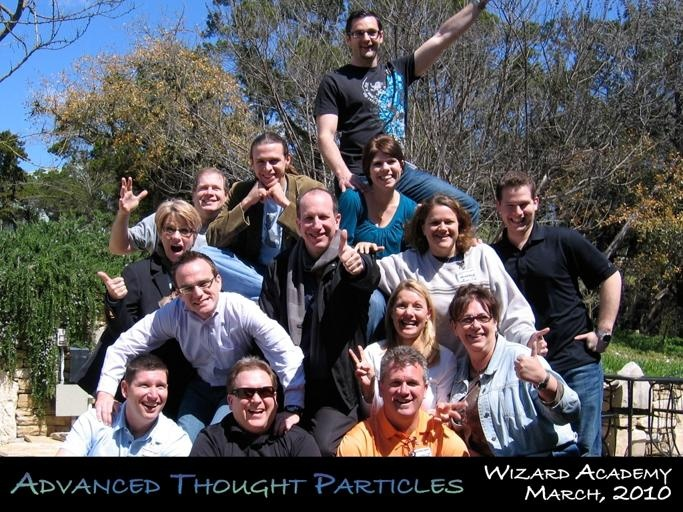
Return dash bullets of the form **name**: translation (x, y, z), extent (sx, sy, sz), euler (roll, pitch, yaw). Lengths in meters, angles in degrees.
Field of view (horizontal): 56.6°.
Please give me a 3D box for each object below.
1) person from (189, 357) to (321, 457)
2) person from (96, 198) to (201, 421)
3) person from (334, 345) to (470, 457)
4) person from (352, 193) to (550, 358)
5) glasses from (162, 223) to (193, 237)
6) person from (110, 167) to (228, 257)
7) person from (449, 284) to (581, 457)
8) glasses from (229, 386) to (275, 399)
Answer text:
- **person**: translation (-0.695, 1.201, 4.906), extent (0.993, 0.803, 0.565), euler (1, 0, -20)
- **person**: translation (-1.663, 0.743, 5.925), extent (1.029, 2.480, 0.942), euler (3, 4, -17)
- **person**: translation (0.439, 1.184, 4.881), extent (1.027, 0.941, 0.521), euler (3, -7, -14)
- **person**: translation (0.969, 0.190, 5.519), extent (1.647, 1.464, 0.945), euler (-2, 9, 32)
- **glasses**: translation (-1.518, -0.244, 5.861), extent (0.146, 0.048, 0.157), euler (4, -27, -6)
- **person**: translation (-1.723, -0.431, 6.341), extent (1.188, 0.890, 0.832), euler (1, -14, -11)
- **person**: translation (1.349, 0.949, 5.057), extent (0.834, 1.087, 0.674), euler (-36, -20, 16)
- **glasses**: translation (-0.671, 1.027, 4.806), extent (0.322, 0.090, 0.077), euler (-2, 2, -9)
